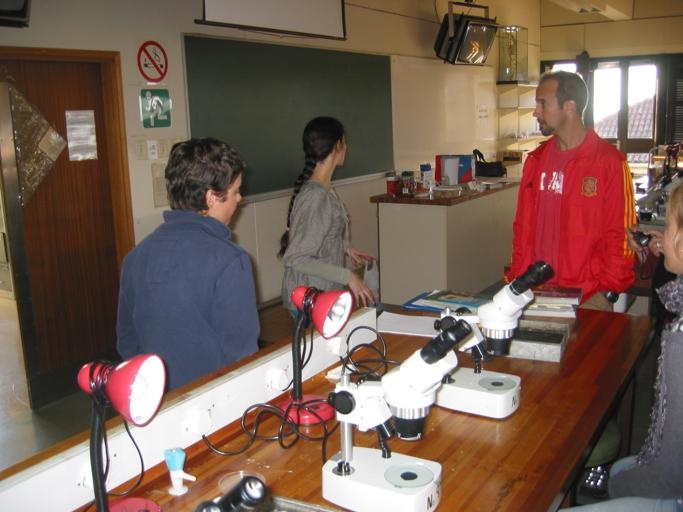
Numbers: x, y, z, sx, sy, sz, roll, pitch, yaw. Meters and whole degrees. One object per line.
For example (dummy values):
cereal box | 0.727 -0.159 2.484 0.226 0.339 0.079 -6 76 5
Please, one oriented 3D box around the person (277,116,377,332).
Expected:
person | -0.067 -0.178 2.731 0.455 1.118 0.387 1 6 13

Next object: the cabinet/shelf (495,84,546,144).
cabinet/shelf | 2.958 -2.539 9.493 0.328 1.095 1.147 -4 12 20

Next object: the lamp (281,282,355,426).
lamp | -0.055 0.296 1.592 0.225 0.409 0.233 1 10 19

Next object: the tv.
tv | 1.703 -3.028 7.440 0.634 0.699 0.796 18 24 41

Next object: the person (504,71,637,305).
person | 1.277 -0.047 2.993 0.373 1.851 0.647 -14 19 -26

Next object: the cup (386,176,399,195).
cup | 0.490 -0.665 5.106 0.117 0.177 0.161 0 12 8

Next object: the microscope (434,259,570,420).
microscope | 0.445 0.247 1.728 0.393 0.474 0.179 0 -2 32

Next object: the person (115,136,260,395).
person | -0.537 0.071 1.881 0.512 0.876 0.359 7 10 35

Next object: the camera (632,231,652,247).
camera | 1.387 -0.078 2.478 0.046 0.034 0.070 -8 30 -15
